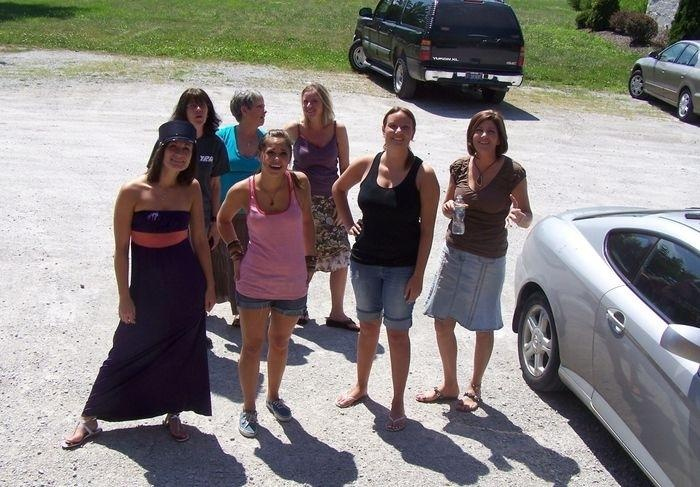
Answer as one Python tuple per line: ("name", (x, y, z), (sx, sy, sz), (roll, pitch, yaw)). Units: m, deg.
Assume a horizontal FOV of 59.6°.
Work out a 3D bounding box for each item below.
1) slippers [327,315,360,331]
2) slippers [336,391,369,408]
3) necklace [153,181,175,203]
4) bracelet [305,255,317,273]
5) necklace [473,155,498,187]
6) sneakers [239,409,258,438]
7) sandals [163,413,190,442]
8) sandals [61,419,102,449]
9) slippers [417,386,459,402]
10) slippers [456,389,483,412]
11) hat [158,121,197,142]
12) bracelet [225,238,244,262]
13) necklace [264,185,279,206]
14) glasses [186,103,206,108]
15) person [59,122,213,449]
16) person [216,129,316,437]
("slippers", (-0.074, 0.822, 6.382), (0.359, 0.105, 0.128), (5, 8, 5))
("slippers", (0.018, 1.342, 5.324), (0.297, 0.119, 0.101), (-7, 64, -34))
("necklace", (-1.415, -0.383, 4.619), (0.133, 0.162, 0.093), (5, -24, -33))
("bracelet", (-0.320, 0.161, 5.015), (0.117, 0.114, 0.116), (-2, 0, -41))
("necklace", (1.147, -0.596, 5.110), (0.280, 0.342, 0.012), (3, -27, 31))
("sneakers", (-0.811, 1.432, 4.893), (0.101, 0.103, 0.237), (1, 16, -16))
("sandals", (-1.362, 1.438, 4.837), (0.106, 0.133, 0.321), (-6, 10, -36))
("sandals", (-2.045, 1.447, 4.700), (0.124, 0.126, 0.291), (10, 17, 29))
("slippers", (0.762, 1.342, 5.393), (0.375, 0.167, 0.136), (7, 10, 1))
("slippers", (1.026, 1.359, 5.282), (0.096, 0.109, 0.275), (19, 9, 40))
("hat", (-1.319, -0.851, 4.677), (0.306, 0.152, 0.399), (0, 2, -9))
("bracelet", (-0.932, 0.067, 5.020), (0.133, 0.173, 0.180), (-4, -12, -11))
("necklace", (-0.621, -0.373, 4.795), (0.158, 0.152, 0.049), (0, -2, -6))
("glasses", (-1.384, -1.239, 5.492), (0.150, 0.045, 0.032), (0, 24, -15))
("person", (-1.530, 0.216, 4.679), (0.956, 2.157, 0.845), (1, 24, -12))
("person", (-0.629, 0.305, 4.902), (0.791, 2.239, 0.879), (-1, 24, -17))
